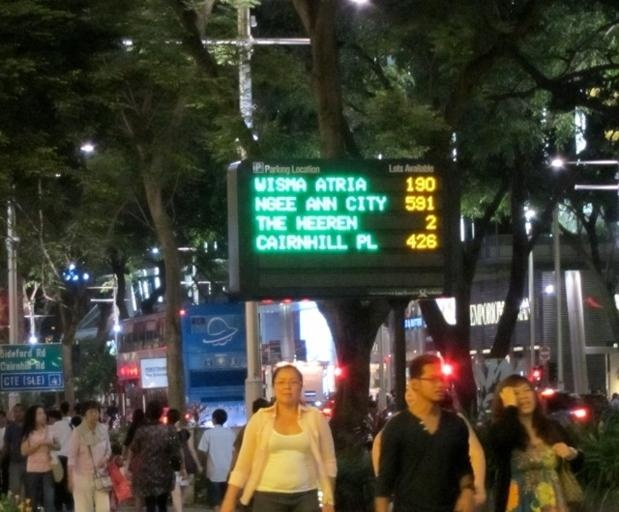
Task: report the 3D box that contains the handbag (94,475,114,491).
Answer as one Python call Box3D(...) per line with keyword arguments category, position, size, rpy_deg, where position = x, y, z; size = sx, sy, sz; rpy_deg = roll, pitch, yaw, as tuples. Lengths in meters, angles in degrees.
Box3D(category="handbag", position=(-2.935, 3.272, 13.173), size=(0.279, 0.283, 0.162), rpy_deg=(2, -24, -32))
